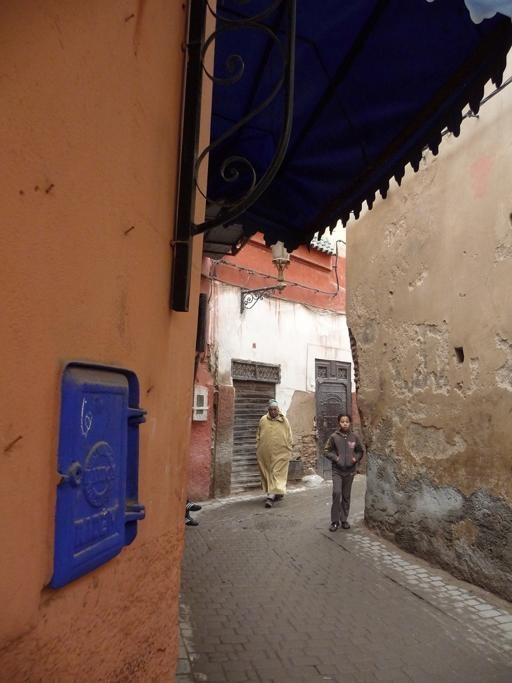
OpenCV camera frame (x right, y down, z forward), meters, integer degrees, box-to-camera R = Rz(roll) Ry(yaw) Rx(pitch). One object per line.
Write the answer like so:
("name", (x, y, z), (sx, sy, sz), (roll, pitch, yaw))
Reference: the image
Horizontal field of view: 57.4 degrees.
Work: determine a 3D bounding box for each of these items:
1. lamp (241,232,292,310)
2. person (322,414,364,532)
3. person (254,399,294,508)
("lamp", (0.128, -1.381, 9.727), (0.948, 1.252, 3.213), (0, -10, 0))
("person", (1.258, 1.839, 6.712), (0.534, 1.540, 0.866), (-1, -8, 12))
("person", (0.352, 2.112, 9.267), (0.654, 1.832, 0.733), (0, -8, 1))
